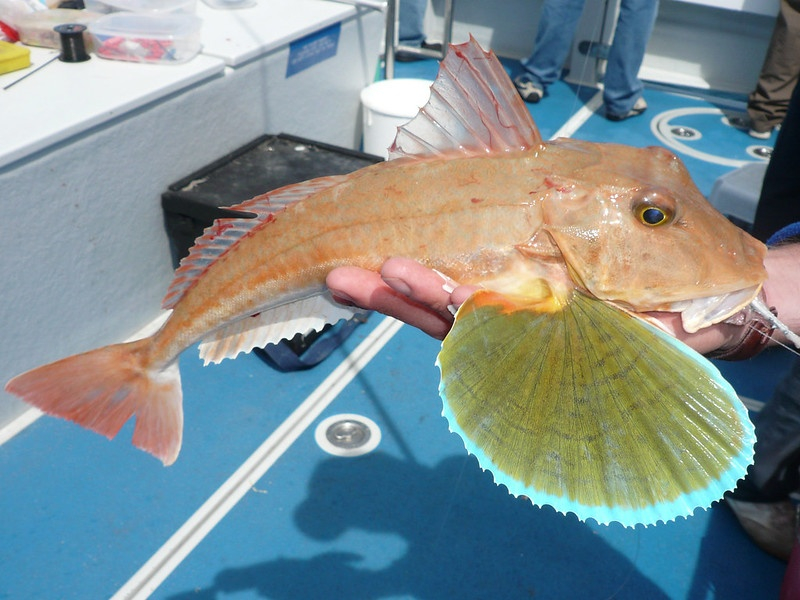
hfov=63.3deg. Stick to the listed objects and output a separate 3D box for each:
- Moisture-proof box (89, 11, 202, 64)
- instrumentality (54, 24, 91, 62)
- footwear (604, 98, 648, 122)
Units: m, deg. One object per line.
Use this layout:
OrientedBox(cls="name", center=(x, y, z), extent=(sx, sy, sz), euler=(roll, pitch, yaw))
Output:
OrientedBox(cls="Moisture-proof box", center=(-1.454, -1.518, 3.735), extent=(0.583, 0.152, 0.364), euler=(0, 36, 1))
OrientedBox(cls="instrumentality", center=(-1.884, -1.415, 3.612), extent=(0.187, 0.177, 0.171), euler=(-19, 44, -33))
OrientedBox(cls="footwear", center=(2.293, -1.897, 6.481), extent=(0.593, 0.219, 0.180), euler=(-6, 36, -19))
